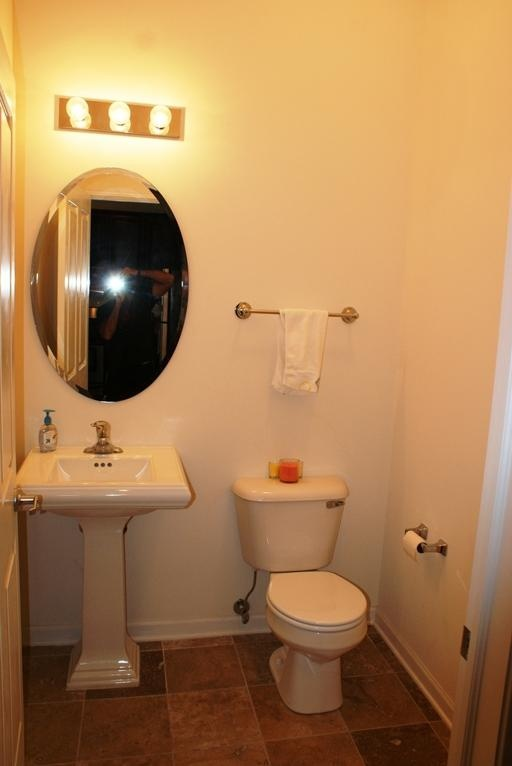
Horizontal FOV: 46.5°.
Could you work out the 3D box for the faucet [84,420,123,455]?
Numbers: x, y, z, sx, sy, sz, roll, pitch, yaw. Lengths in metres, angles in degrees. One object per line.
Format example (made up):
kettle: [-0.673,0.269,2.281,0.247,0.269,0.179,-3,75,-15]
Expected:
faucet: [-0.535,0.180,2.102,0.127,0.112,0.112,0,-1,-16]

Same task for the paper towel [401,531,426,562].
paper towel: [0.524,0.550,2.019,0.067,0.088,0.092,-4,2,-9]

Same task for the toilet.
toilet: [0.132,0.719,2.106,0.454,0.659,0.649,3,7,-3]

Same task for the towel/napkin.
towel/napkin: [0.180,-0.116,2.152,0.221,0.288,0.082,2,2,-12]

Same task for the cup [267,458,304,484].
cup: [0.114,0.334,2.277,0.073,0.072,0.110,0,2,-13]

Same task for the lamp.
lamp: [-0.458,-0.906,2.030,0.436,0.125,0.095,1,7,-18]

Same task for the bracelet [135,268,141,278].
bracelet: [-0.432,-0.401,2.155,0.030,0.031,0.007,-7,8,-14]

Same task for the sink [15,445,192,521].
sink: [-0.497,0.345,1.947,0.519,0.164,0.486,1,7,-14]
